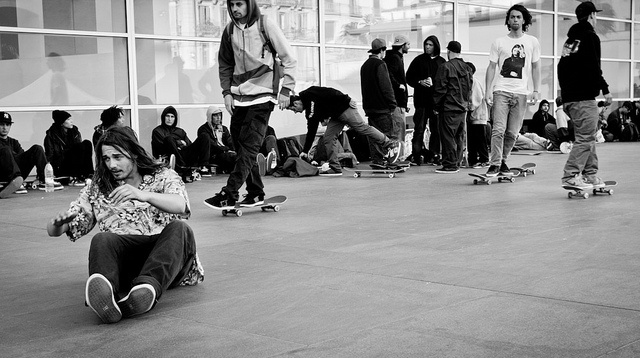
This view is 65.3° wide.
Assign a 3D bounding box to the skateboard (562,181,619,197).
[{"bbox_3d":[4.443,0.189,8.190,1.325,0.210,0.349,-7,15,-38],"label":"skateboard"}]

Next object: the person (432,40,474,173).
[{"bbox_3d":[3.017,-1.665,11.600,0.643,2.989,0.835,5,13,34],"label":"person"}]

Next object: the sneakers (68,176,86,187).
[{"bbox_3d":[-5.380,0.049,11.014,0.368,0.131,0.204,6,8,39],"label":"sneakers"}]

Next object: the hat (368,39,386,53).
[{"bbox_3d":[1.332,-3.337,12.525,0.343,0.276,0.492,-37,30,-17],"label":"hat"}]

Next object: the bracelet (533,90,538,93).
[{"bbox_3d":[3.919,-1.601,9.115,0.059,0.043,0.144,27,15,-1],"label":"bracelet"}]

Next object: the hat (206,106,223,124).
[{"bbox_3d":[-2.704,-1.643,12.580,0.368,0.372,0.429,-11,12,-34],"label":"hat"}]

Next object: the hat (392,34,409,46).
[{"bbox_3d":[2.062,-3.616,13.031,0.363,0.169,0.263,-7,11,-19],"label":"hat"}]

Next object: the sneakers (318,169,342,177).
[{"bbox_3d":[0.224,-0.141,11.890,0.550,0.194,0.191,3,0,-4],"label":"sneakers"}]

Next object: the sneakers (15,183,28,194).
[{"bbox_3d":[-6.113,0.224,10.220,0.146,0.163,0.406,1,2,-12],"label":"sneakers"}]

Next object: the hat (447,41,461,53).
[{"bbox_3d":[3.065,-3.058,11.593,0.265,0.201,0.321,3,31,-11],"label":"hat"}]

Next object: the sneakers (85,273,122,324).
[{"bbox_3d":[-1.685,0.917,3.924,0.223,0.403,0.165,-27,7,-3],"label":"sneakers"}]

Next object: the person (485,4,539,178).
[{"bbox_3d":[3.645,-1.664,9.515,0.949,3.285,0.957,2,11,20],"label":"person"}]

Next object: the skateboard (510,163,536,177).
[{"bbox_3d":[4.459,-0.202,10.942,0.312,0.169,1.016,10,16,33],"label":"skateboard"}]

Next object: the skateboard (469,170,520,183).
[{"bbox_3d":[3.442,-0.007,9.925,1.186,0.186,0.342,0,26,-32],"label":"skateboard"}]

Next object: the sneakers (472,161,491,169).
[{"bbox_3d":[4.070,-0.357,12.704,0.522,0.198,0.180,-1,8,-5],"label":"sneakers"}]

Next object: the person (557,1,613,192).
[{"bbox_3d":[4.219,-1.325,7.995,0.746,2.979,0.694,1,11,15],"label":"person"}]

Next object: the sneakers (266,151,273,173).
[{"bbox_3d":[-1.184,-0.423,11.941,0.164,0.448,0.196,2,8,-35],"label":"sneakers"}]

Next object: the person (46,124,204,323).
[{"bbox_3d":[-1.632,0.325,4.141,1.200,1.481,0.864,-6,11,-19],"label":"person"}]

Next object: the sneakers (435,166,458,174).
[{"bbox_3d":[2.934,-0.207,11.673,0.507,0.194,0.177,2,5,0],"label":"sneakers"}]

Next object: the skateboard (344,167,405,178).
[{"bbox_3d":[1.372,-0.156,11.669,1.652,0.254,0.408,1,24,18],"label":"skateboard"}]

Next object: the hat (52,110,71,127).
[{"bbox_3d":[-5.815,-1.375,11.237,0.410,0.329,0.296,2,12,-22],"label":"hat"}]

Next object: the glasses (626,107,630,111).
[{"bbox_3d":[12.246,-2.791,19.912,0.057,0.161,0.172,2,-9,-5],"label":"glasses"}]
